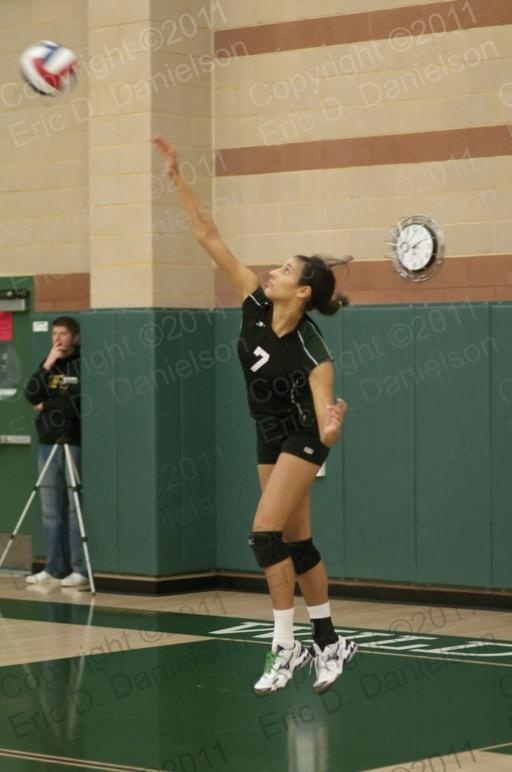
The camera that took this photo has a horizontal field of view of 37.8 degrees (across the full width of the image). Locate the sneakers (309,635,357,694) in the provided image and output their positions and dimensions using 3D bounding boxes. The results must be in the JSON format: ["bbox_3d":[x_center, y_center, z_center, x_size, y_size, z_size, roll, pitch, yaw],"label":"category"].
[{"bbox_3d":[0.285,1.097,2.950,0.102,0.133,0.292,-41,4,30],"label":"sneakers"}]

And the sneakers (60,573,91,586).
[{"bbox_3d":[-1.470,1.566,6.076,0.104,0.077,0.198,-3,-14,30],"label":"sneakers"}]

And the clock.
[{"bbox_3d":[1.134,-0.992,5.334,0.442,0.414,0.108,30,23,35],"label":"clock"}]

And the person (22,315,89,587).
[{"bbox_3d":[-1.606,0.527,6.260,0.659,2.190,0.606,-3,-8,43],"label":"person"}]

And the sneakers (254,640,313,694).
[{"bbox_3d":[0.097,1.025,2.748,0.106,0.168,0.289,-3,-9,22],"label":"sneakers"}]
